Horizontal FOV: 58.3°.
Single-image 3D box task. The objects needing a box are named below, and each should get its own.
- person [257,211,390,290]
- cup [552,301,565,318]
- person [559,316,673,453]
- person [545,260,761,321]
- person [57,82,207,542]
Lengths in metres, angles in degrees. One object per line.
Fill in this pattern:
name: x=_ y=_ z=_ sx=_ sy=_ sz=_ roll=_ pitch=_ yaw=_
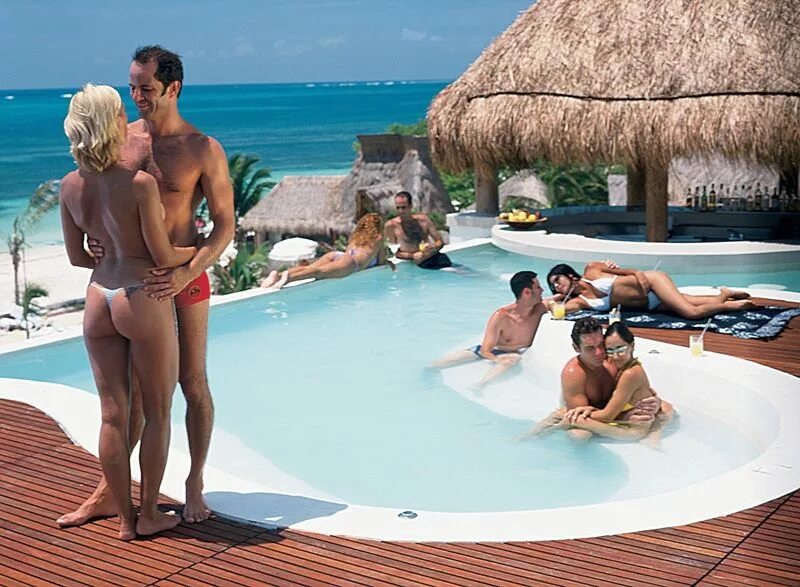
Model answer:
person: x=-0.813 y=-0.651 z=9.628 sx=1.568 sy=0.793 sz=0.378 roll=-11 pitch=14 yaw=-31
cup: x=1.544 y=0.146 z=7.007 sx=0.157 sy=0.140 sz=0.144 roll=-2 pitch=6 yaw=0
person: x=1.570 y=0.630 z=5.465 sx=1.073 sy=0.931 sz=0.829 roll=-6 pitch=13 yaw=3
person: x=2.447 y=-0.092 z=7.457 sx=2.388 sy=0.694 sz=0.728 roll=0 pitch=-16 yaw=13
person: x=-1.309 y=0.105 z=3.334 sx=0.613 sy=2.079 sz=0.411 roll=-2 pitch=14 yaw=14
